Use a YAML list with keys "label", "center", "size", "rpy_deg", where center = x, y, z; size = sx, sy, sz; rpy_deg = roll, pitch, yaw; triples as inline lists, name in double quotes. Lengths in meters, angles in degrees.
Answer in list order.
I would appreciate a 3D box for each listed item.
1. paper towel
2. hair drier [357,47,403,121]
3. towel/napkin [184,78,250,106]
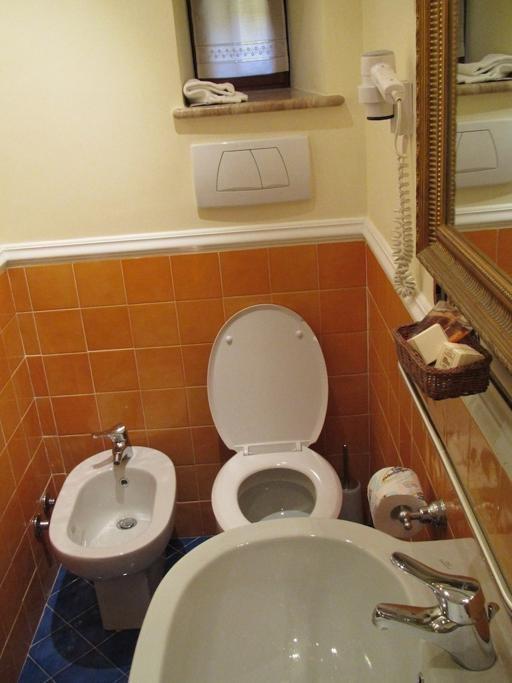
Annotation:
- label: "paper towel"
  center: [0.242, 0.291, 0.963]
  size: [0.106, 0.133, 0.113]
  rpy_deg: [1, 24, 0]
- label: "hair drier"
  center: [0.231, -0.459, 0.944]
  size: [0.046, 0.116, 0.129]
  rpy_deg: [-15, 29, -5]
- label: "towel/napkin"
  center: [-0.125, -0.750, 1.569]
  size: [0.179, 0.084, 0.198]
  rpy_deg: [2, 22, -1]
